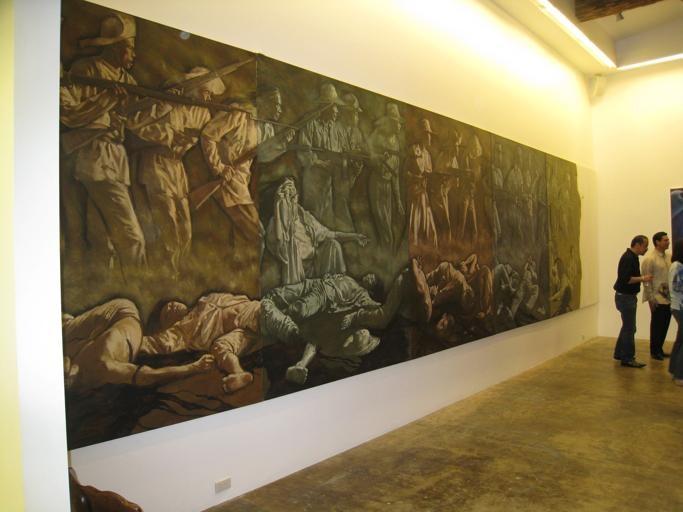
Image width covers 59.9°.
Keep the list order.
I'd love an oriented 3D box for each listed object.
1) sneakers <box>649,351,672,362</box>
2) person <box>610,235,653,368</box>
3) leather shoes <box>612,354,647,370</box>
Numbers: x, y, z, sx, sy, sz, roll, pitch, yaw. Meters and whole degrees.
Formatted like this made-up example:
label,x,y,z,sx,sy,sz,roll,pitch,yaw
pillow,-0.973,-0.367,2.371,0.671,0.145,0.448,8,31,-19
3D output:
label,x,y,z,sx,sy,sz,roll,pitch,yaw
sneakers,6.056,1.941,11.327,0.376,0.140,0.268,-13,-8,5
person,5.345,0.839,10.995,0.591,2.390,0.728,1,5,29
leather shoes,5.252,1.964,10.963,0.511,0.247,0.195,-1,-1,27
